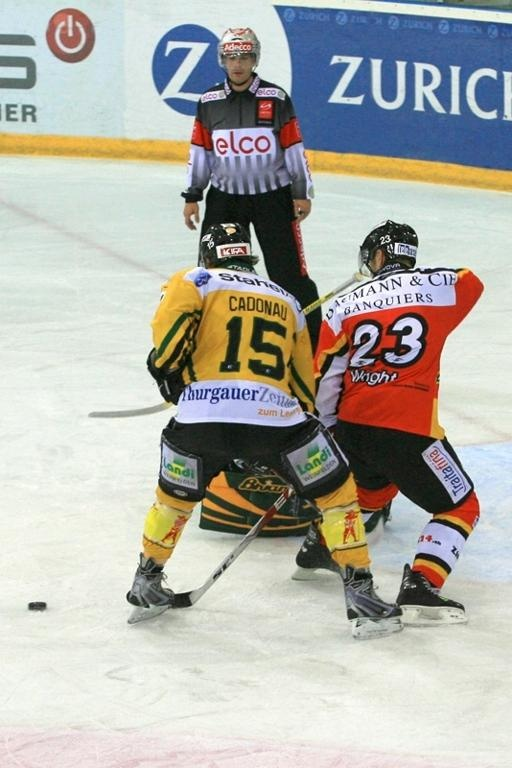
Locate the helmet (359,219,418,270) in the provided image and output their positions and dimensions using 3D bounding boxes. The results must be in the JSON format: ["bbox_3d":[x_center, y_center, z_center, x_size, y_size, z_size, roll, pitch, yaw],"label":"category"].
[{"bbox_3d":[0.437,-0.436,2.741,0.195,0.144,0.167,1,-3,44],"label":"helmet"}]

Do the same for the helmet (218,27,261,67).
[{"bbox_3d":[-0.067,-1.519,3.847,0.182,0.167,0.182,-1,-23,-1],"label":"helmet"}]

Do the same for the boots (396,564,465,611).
[{"bbox_3d":[0.485,0.570,2.325,0.226,0.106,0.071,11,-9,-16],"label":"boots"}]

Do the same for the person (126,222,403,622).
[{"bbox_3d":[0.048,0.090,2.329,0.696,1.058,0.481,3,9,8],"label":"person"}]

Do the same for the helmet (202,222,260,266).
[{"bbox_3d":[-0.089,-0.405,2.480,0.150,0.144,0.161,-1,6,-9],"label":"helmet"}]

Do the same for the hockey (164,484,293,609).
[{"bbox_3d":[-0.080,0.500,2.600,0.554,0.069,0.085,-40,15,-34],"label":"hockey"}]
